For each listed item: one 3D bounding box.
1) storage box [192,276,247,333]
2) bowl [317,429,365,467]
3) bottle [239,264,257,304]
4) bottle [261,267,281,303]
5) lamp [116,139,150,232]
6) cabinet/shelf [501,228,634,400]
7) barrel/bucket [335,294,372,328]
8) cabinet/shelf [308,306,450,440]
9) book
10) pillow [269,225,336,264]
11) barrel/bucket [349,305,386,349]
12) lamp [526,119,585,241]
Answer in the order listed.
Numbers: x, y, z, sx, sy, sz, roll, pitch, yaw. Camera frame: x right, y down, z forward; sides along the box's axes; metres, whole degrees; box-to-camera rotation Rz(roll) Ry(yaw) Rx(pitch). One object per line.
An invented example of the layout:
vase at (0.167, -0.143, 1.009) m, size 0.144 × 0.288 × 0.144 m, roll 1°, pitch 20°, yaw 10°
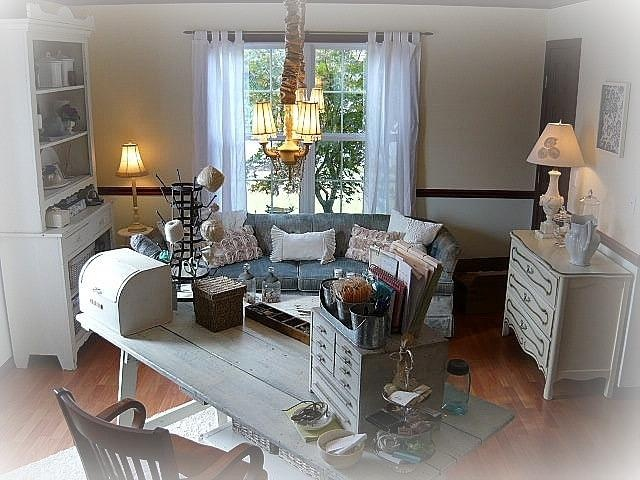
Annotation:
storage box at (-0.610, 0.384, 2.663) m, size 0.196 × 0.252 × 0.252 m, roll -9°, pitch 15°, yaw -40°
bowl at (0.077, 0.773, 1.655) m, size 0.172 × 0.103 × 0.162 m, roll 3°, pitch 11°, yaw -1°
bottle at (-0.530, 0.318, 3.299) m, size 0.113 × 0.283 × 0.113 m, roll 0°, pitch 18°, yaw 0°
bottle at (-0.335, 0.315, 3.171) m, size 0.152 × 0.244 × 0.155 m, roll -3°, pitch 5°, yaw 0°
lamp at (-2.151, -0.571, 5.121) m, size 0.387 × 1.039 × 0.606 m, roll -7°, pitch 17°, yaw -17°
cabinet/shelf at (2.023, 0.614, 3.598) m, size 0.631 × 1.079 × 1.096 m, roll -1°, pitch 18°, yaw -2°
barrel/bucket at (0.144, 0.280, 1.824) m, size 0.128 × 0.099 × 0.116 m, roll 6°, pitch 18°, yaw -2°
cabinet/shelf at (0.225, 0.518, 1.953) m, size 0.434 × 0.400 × 0.483 m, roll -11°, pitch 18°, yaw -27°
book at (0.339, 0.170, 1.873) m, size 0.126 × 0.370 × 0.274 m, roll 15°, pitch 9°, yaw 32°
pillow at (-0.183, 0.046, 4.908) m, size 0.731 × 0.441 × 0.175 m, roll -1°, pitch 19°, yaw -7°
barrel/bucket at (0.197, 0.352, 1.746) m, size 0.128 × 0.118 × 0.138 m, roll -2°, pitch -4°, yaw 0°
lamp at (2.229, -0.560, 4.278) m, size 0.495 × 1.010 × 0.498 m, roll -12°, pitch 18°, yaw -43°
